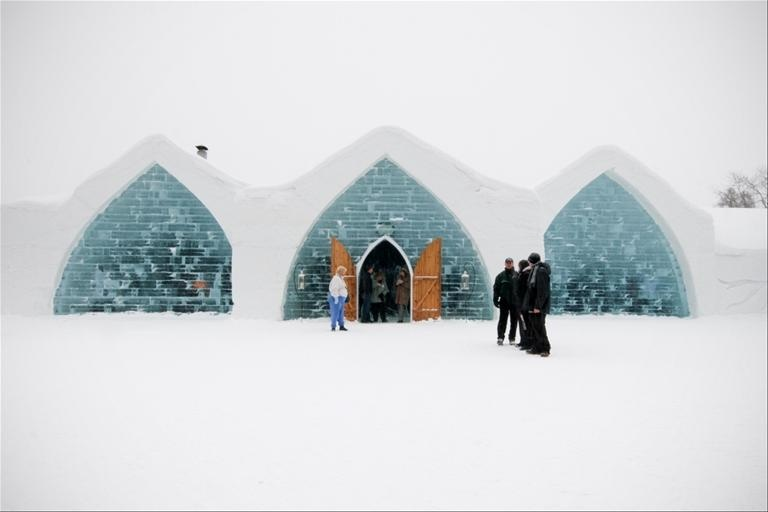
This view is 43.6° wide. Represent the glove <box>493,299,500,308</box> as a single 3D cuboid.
[{"bbox_3d":[2.217,0.900,18.888,0.107,0.173,0.184,0,6,1],"label":"glove"}]

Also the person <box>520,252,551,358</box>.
[{"bbox_3d":[2.866,0.969,17.833,0.384,1.708,0.709,-3,7,-27],"label":"person"}]

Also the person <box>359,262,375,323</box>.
[{"bbox_3d":[-0.409,0.890,22.452,0.335,1.380,0.864,0,6,-2],"label":"person"}]

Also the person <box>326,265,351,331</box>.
[{"bbox_3d":[-1.030,0.900,21.285,0.393,1.396,1.160,-1,6,-3],"label":"person"}]

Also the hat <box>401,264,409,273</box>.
[{"bbox_3d":[0.507,0.319,22.852,0.050,0.170,0.193,-28,-4,10],"label":"hat"}]

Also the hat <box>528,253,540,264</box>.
[{"bbox_3d":[2.832,0.044,18.071,0.168,0.177,0.193,0,-12,8],"label":"hat"}]
